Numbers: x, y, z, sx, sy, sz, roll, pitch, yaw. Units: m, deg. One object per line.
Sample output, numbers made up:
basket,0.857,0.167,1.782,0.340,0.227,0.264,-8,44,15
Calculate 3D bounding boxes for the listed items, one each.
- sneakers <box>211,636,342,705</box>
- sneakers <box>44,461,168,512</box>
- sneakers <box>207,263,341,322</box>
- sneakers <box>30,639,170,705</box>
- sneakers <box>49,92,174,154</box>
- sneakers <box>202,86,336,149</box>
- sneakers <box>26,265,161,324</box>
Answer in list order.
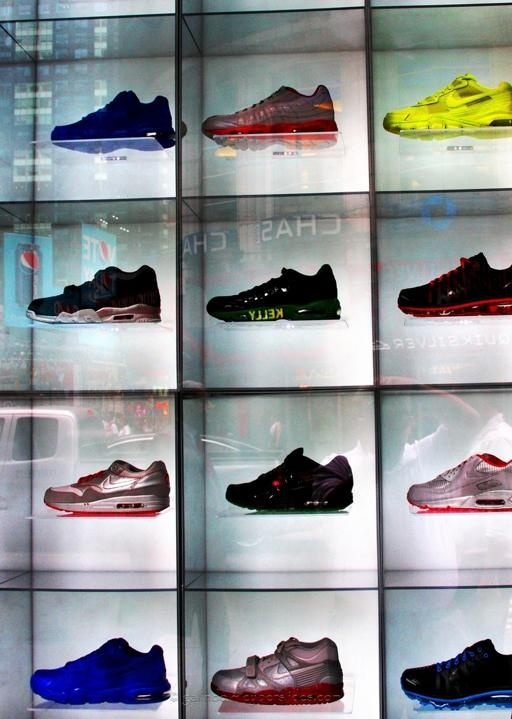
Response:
sneakers,0.071,0.926,1.920,0.443,0.215,0.151,2,-23,3
sneakers,-0.479,0.412,2.040,0.419,0.197,0.145,1,-14,4
sneakers,0.076,-0.179,1.948,0.483,0.218,0.164,1,-8,1
sneakers,-0.421,0.911,1.886,0.439,0.207,0.165,2,-23,0
sneakers,-0.416,-0.713,2.018,0.452,0.233,0.159,0,1,-3
sneakers,0.052,-0.717,1.968,0.466,0.208,0.172,0,6,-3
sneakers,-0.482,-0.198,2.091,0.469,0.216,0.162,1,-6,1
